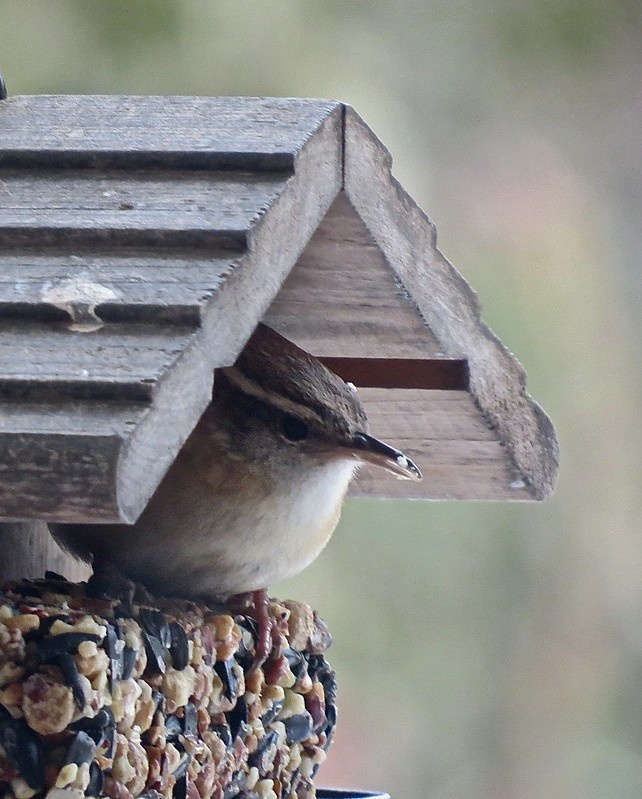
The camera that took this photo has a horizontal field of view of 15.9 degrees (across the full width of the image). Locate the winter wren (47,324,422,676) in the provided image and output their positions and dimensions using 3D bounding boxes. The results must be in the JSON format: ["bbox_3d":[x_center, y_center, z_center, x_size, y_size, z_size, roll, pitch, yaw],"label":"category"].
[{"bbox_3d":[-0.100,0.069,2.320,0.248,0.346,0.413,9,17,-40],"label":"winter wren"}]
